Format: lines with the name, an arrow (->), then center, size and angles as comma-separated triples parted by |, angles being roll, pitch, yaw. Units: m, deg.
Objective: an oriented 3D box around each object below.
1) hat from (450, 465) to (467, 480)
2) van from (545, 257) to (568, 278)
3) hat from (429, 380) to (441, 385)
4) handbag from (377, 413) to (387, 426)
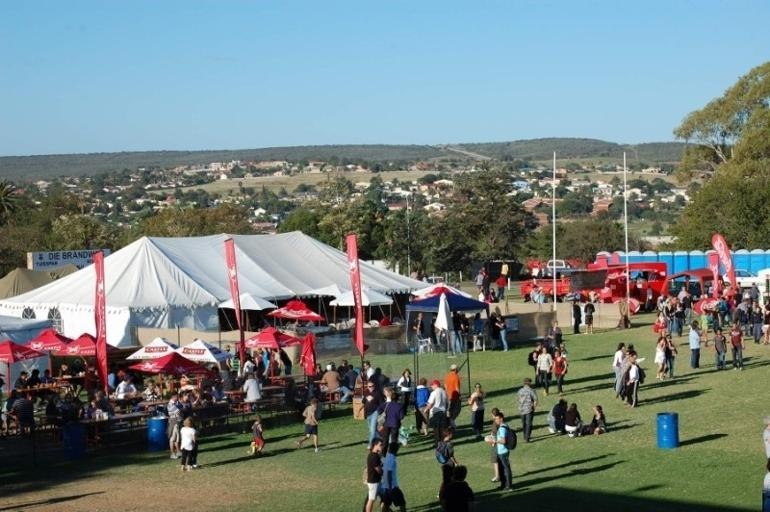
hat -> 2.690, 7.899, 45.421 | 0.494, 0.565, 0.343 | -3, -3, 8
van -> 12.792, 0.661, 93.312 | 1.800, 1.260, 2.673 | 0, 11, 9
hat -> 2.125, 5.313, 52.109 | 0.444, 0.211, 0.610 | 1, -1, 10
handbag -> -0.144, 6.713, 51.534 | 0.411, 0.588, 0.604 | 4, 8, 7
